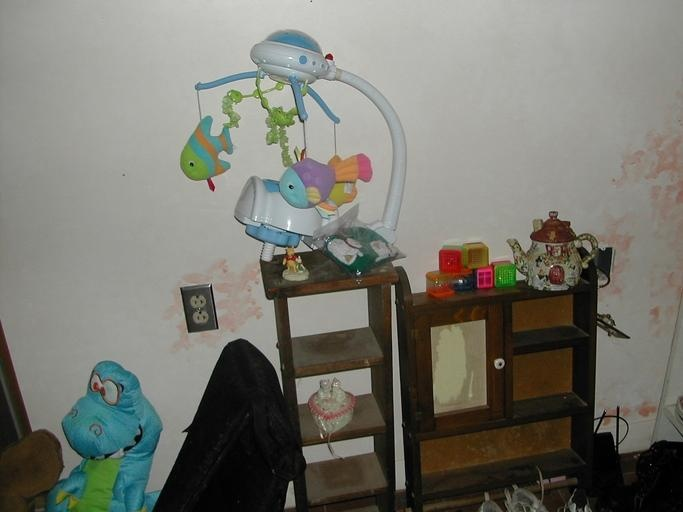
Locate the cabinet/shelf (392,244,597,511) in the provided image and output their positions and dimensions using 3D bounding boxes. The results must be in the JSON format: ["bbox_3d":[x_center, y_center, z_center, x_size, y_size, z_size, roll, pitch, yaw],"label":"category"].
[{"bbox_3d":[0.670,0.508,2.559,0.910,1.404,0.290,-6,15,-14],"label":"cabinet/shelf"}]

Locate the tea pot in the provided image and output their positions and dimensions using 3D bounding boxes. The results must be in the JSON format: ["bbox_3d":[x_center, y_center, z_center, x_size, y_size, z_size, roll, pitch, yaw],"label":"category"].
[{"bbox_3d":[0.888,-0.042,2.521,0.381,0.376,0.270,1,15,4],"label":"tea pot"}]

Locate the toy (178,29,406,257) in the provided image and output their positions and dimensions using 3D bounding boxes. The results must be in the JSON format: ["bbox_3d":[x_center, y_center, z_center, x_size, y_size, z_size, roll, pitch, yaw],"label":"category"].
[{"bbox_3d":[-0.193,-0.565,2.593,0.832,1.068,0.770,1,25,-7],"label":"toy"}]

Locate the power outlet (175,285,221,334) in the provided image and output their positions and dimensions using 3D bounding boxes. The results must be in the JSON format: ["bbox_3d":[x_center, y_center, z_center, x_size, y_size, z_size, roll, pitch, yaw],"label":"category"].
[{"bbox_3d":[-0.629,0.225,2.514,0.160,0.269,0.027,-6,17,-7],"label":"power outlet"}]

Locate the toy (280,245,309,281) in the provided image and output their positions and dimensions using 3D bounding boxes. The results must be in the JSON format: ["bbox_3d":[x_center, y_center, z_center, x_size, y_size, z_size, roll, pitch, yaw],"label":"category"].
[{"bbox_3d":[-0.189,0.032,2.336,0.109,0.144,0.119,-1,6,6],"label":"toy"}]
